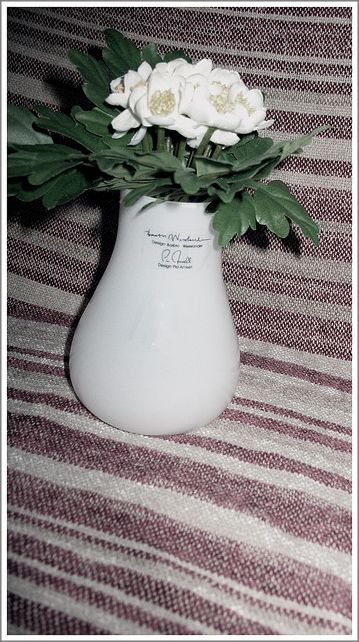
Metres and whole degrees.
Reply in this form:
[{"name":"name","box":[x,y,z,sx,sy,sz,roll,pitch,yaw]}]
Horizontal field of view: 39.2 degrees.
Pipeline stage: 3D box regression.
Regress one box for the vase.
[{"name":"vase","box":[-0.006,-0.045,0.445,0.143,0.215,0.155,8,35,0]}]

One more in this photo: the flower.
[{"name":"flower","box":[-0.005,-0.111,0.312,0.174,0.187,0.079,7,-39,-17]}]
